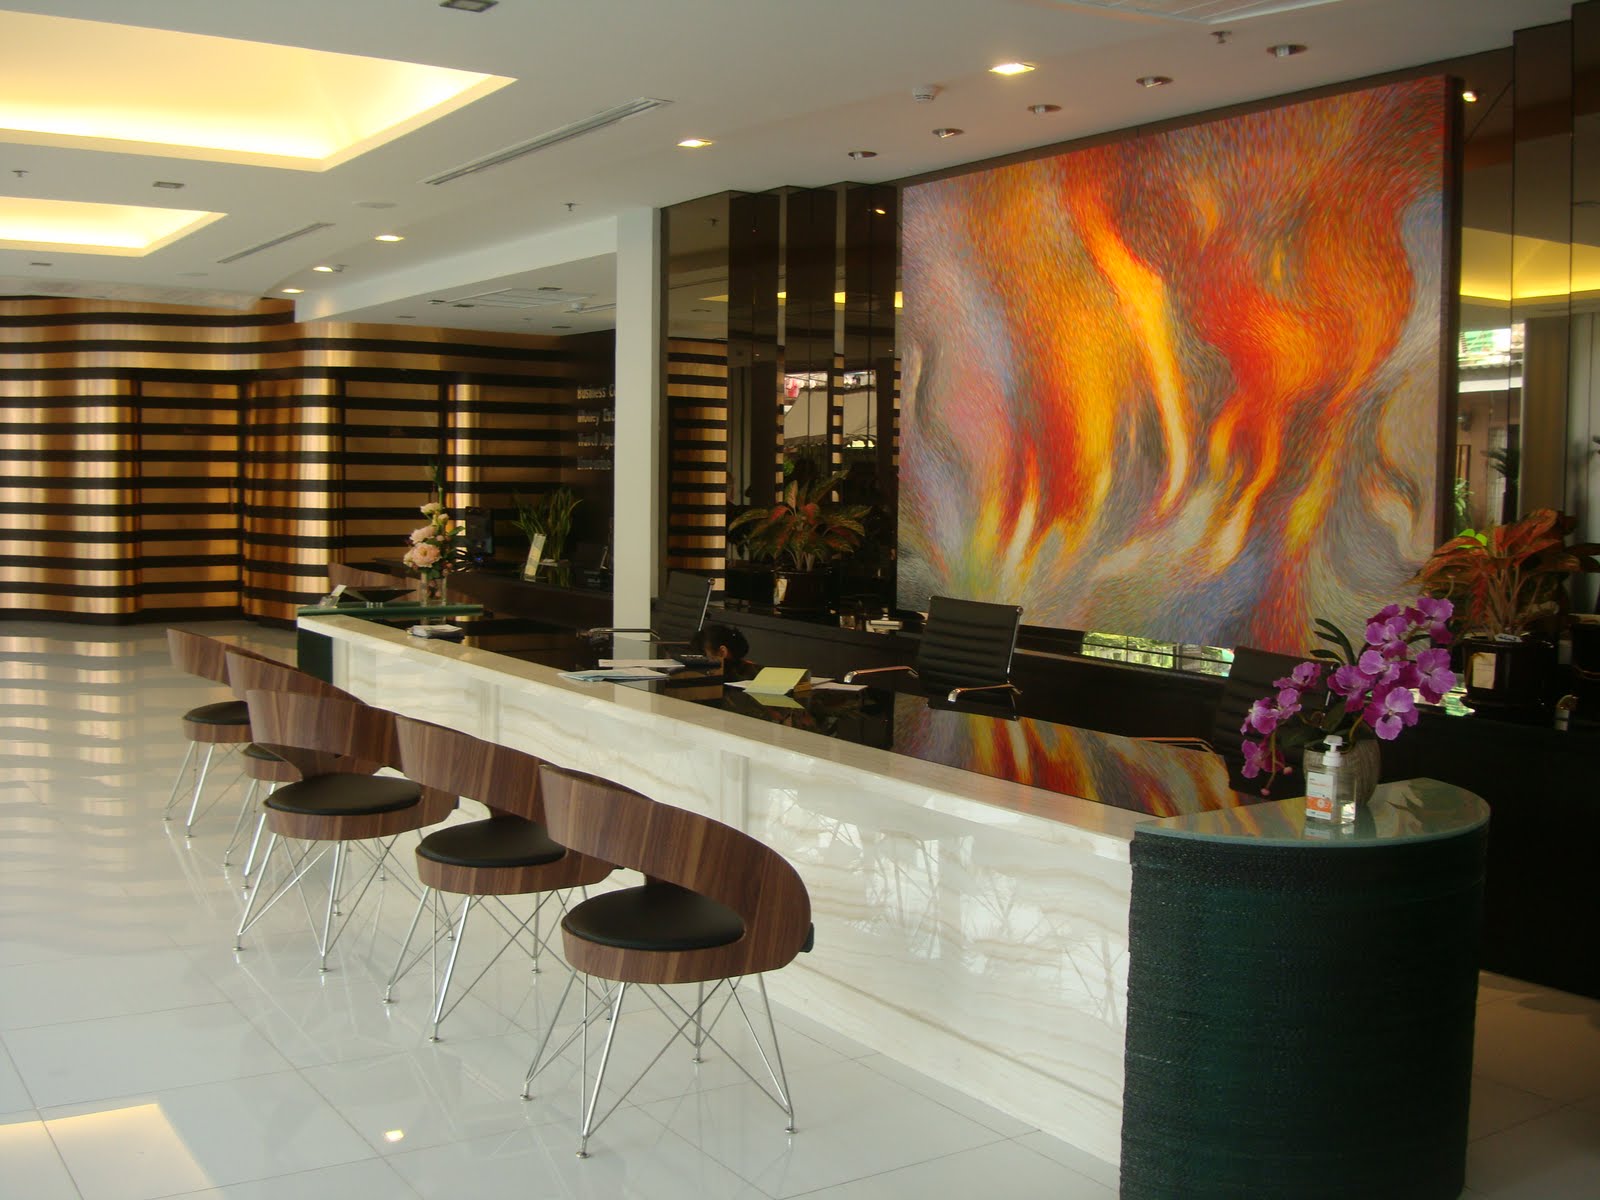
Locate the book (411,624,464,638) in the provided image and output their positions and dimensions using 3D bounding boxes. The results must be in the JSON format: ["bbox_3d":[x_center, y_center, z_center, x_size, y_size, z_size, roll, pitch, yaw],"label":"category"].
[{"bbox_3d":[-1.898,0.164,6.415,0.148,0.027,0.138,-3,7,-36],"label":"book"}]

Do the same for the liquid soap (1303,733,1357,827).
[{"bbox_3d":[1.311,0.440,3.022,0.129,0.209,0.147,4,9,22],"label":"liquid soap"}]

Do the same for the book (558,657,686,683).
[{"bbox_3d":[-0.723,0.284,5.062,0.452,0.021,0.513,2,6,7],"label":"book"}]

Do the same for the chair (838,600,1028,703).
[{"bbox_3d":[0.628,0.225,5.880,0.642,0.708,0.631,-2,6,-36],"label":"chair"}]

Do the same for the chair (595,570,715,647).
[{"bbox_3d":[-0.862,0.068,7.086,0.547,0.520,0.525,0,6,-28],"label":"chair"}]

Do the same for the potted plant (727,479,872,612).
[{"bbox_3d":[-0.013,-0.380,8.398,1.073,0.779,0.932,-2,6,-15],"label":"potted plant"}]

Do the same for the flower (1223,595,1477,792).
[{"bbox_3d":[1.392,0.230,3.105,0.470,0.469,0.313,4,8,22],"label":"flower"}]
